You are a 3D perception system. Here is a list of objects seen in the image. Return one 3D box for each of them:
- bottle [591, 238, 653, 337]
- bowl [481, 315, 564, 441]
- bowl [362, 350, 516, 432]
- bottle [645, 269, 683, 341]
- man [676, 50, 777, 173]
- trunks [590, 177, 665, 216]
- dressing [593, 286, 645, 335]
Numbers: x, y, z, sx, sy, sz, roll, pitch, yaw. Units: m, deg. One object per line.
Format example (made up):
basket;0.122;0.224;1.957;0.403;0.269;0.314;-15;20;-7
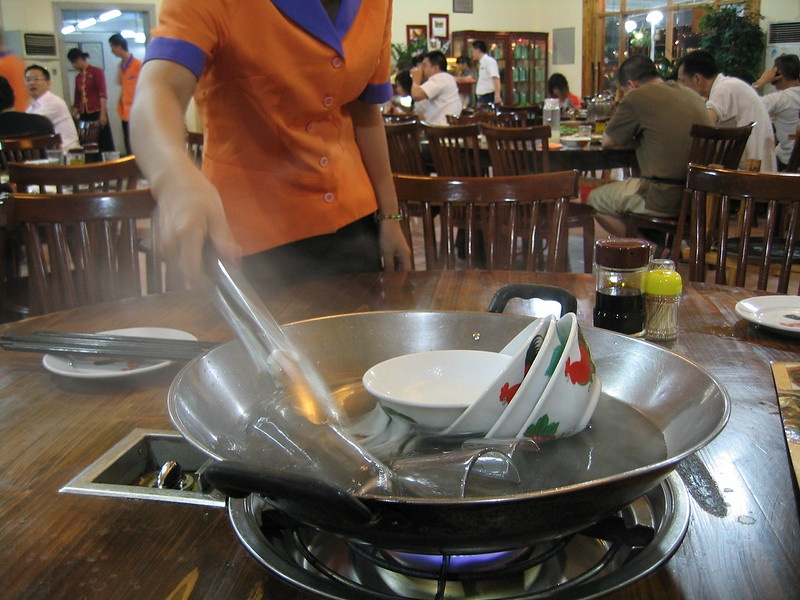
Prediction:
bottle;0.357;-0.012;0.927;0.099;0.155;0.103;-4;16;1
bowl;0.134;0.074;0.570;0.045;0.092;0.133;10;22;34
bowl;0.031;0.117;0.621;0.129;0.047;0.131;3;6;0
bottle;0.440;0.010;0.923;0.064;0.113;0.067;4;-1;0
man;2.434;-1.229;4.414;0.674;1.277;0.577;-3;15;33
trunks;1.442;-0.670;3.787;0.379;0.162;0.289;11;27;36
dressing;0.348;0.016;0.944;0.076;0.080;0.079;-2;17;2
